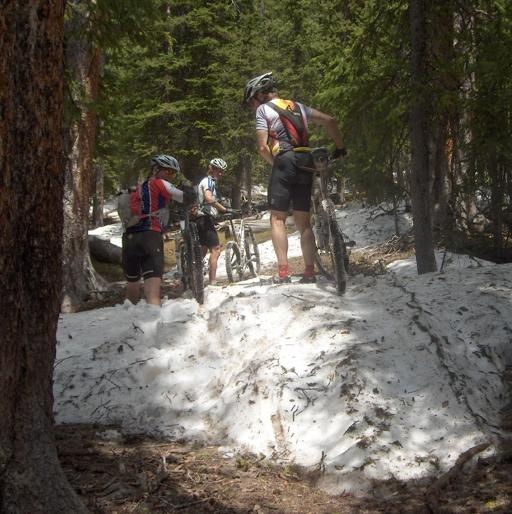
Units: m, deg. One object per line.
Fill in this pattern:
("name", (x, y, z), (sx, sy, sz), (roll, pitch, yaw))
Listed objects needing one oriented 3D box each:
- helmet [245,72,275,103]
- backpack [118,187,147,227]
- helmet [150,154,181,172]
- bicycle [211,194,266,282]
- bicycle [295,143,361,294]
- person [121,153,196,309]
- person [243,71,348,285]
("helmet", (0.041, -1.913, 6.416), (0.314, 0.220, 0.267), (-34, 15, 9))
("backpack", (-1.401, -0.538, 6.496), (0.275, 0.658, 0.499), (-1, 0, -8))
("helmet", (-1.042, -1.086, 6.531), (0.246, 0.127, 0.200), (15, 11, -4))
("bicycle", (-0.320, -0.291, 9.875), (0.601, 0.964, 1.359), (-1, 16, 15))
("bicycle", (0.802, -0.450, 6.784), (0.702, 1.046, 1.506), (-6, 16, -1))
("person", (-1.173, -0.320, 6.537), (0.686, 1.593, 0.829), (-3, 2, 28))
("person", (0.459, -0.835, 6.516), (0.978, 2.748, 0.795), (-2, -20, 2))
